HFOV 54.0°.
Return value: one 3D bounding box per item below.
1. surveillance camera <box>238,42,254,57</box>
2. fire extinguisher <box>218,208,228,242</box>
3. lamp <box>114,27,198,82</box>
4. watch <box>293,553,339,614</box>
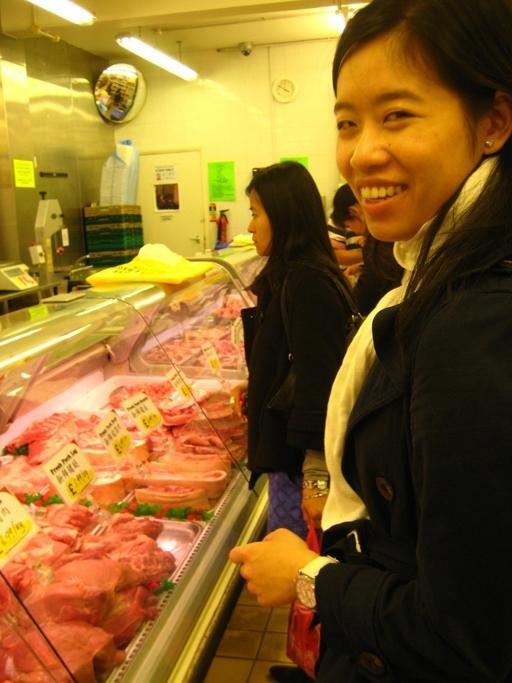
[{"bbox_3d":[-0.115,-3.695,6.371,0.134,0.095,0.120,3,-3,-41],"label":"surveillance camera"},{"bbox_3d":[-0.460,-1.596,6.924,0.164,0.425,0.307,-3,12,4],"label":"fire extinguisher"},{"bbox_3d":[-1.159,-3.432,5.974,0.206,0.082,1.141,-17,-4,26],"label":"lamp"},{"bbox_3d":[0.086,0.327,0.680,0.036,0.057,0.058,7,15,45],"label":"watch"}]
